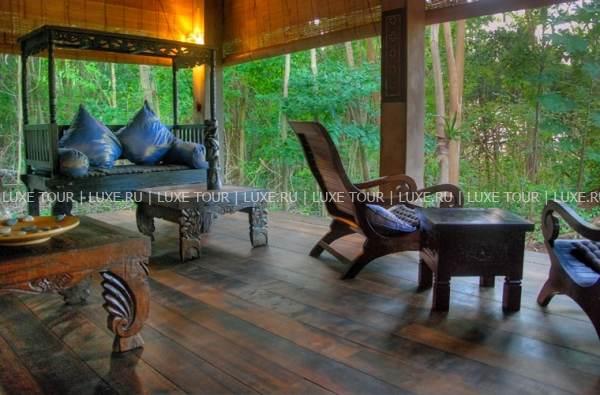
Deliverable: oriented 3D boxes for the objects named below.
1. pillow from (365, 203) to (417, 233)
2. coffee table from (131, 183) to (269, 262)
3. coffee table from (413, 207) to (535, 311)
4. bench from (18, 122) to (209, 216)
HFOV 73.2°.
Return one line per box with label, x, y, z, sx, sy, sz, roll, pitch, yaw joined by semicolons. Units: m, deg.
pillow;0.752;0.189;3.371;0.323;0.088;0.267;12;36;-24
coffee table;-1.060;0.193;4.405;1.130;0.615;0.979;-10;16;-37
coffee table;1.197;0.422;3.221;0.851;0.717;0.793;1;5;-1
bench;-2.291;-0.296;5.129;0.847;1.137;2.023;17;18;38
